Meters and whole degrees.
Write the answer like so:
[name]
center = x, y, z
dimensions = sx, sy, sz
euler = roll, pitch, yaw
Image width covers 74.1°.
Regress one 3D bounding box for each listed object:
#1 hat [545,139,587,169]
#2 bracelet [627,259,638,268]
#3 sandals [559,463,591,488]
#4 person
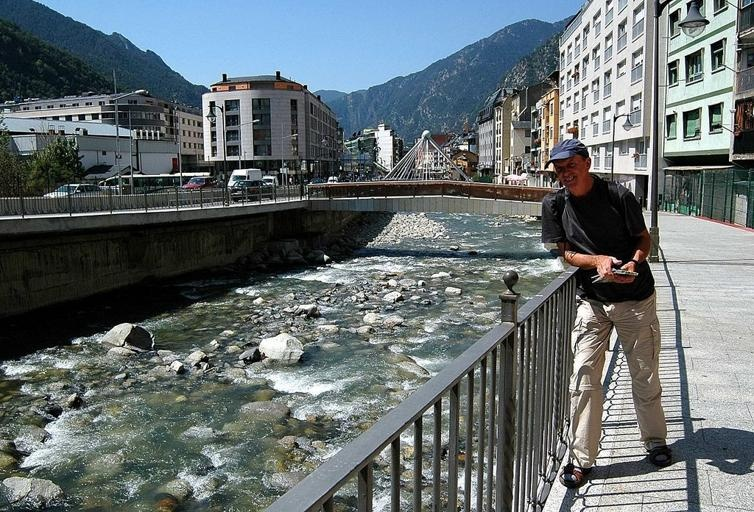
[hat]
center = 1.448, -0.801, 3.850
dimensions = 0.331, 0.175, 0.226
euler = 1, -14, -38
[bracelet]
center = 1.910, 0.062, 3.750
dimensions = 0.070, 0.019, 0.076
euler = -8, 7, 26
[sandals]
center = 1.558, 1.770, 3.974
dimensions = 0.104, 0.120, 0.298
euler = -4, -1, 33
[person]
center = 1.844, 0.444, 3.985
dimensions = 1.020, 2.720, 0.585
euler = -1, 10, 2
